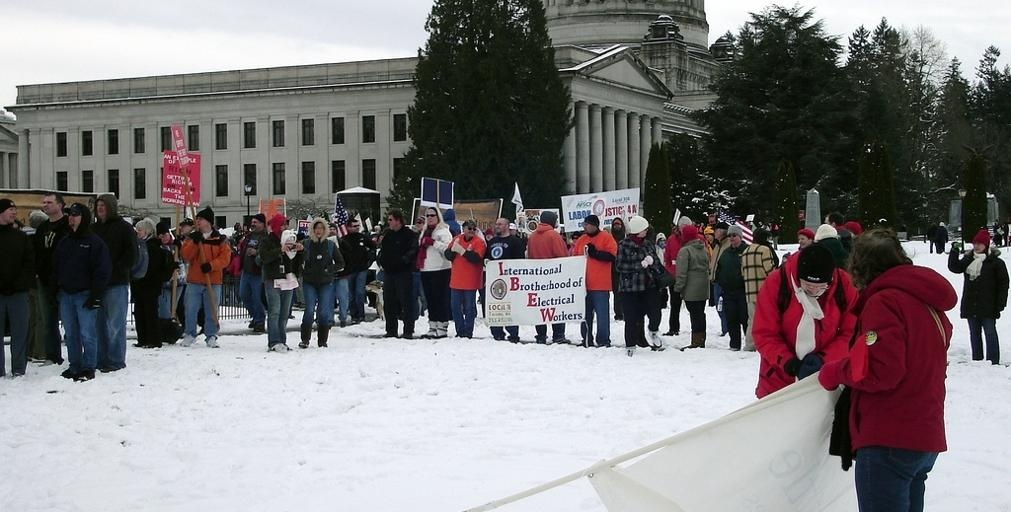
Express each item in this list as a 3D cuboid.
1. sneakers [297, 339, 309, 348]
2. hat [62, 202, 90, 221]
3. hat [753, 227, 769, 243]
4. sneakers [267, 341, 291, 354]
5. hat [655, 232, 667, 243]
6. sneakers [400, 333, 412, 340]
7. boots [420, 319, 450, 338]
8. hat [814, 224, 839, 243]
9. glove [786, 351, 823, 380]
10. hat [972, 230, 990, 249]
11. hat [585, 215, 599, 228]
[{"bbox_3d":[-4.888,2.088,23.500,0.163,0.152,0.364,1,-8,-3],"label":"sneakers"},{"bbox_3d":[-9.160,-0.950,20.798,0.418,0.320,0.582,6,-16,30],"label":"hat"},{"bbox_3d":[6.061,-0.532,23.457,0.341,0.403,0.438,-11,-29,18],"label":"hat"},{"bbox_3d":[-5.380,2.148,23.093,0.488,0.208,0.221,0,3,9],"label":"sneakers"},{"bbox_3d":[4.863,-0.618,30.956,0.354,0.432,0.468,1,-4,1],"label":"hat"},{"bbox_3d":[-2.551,2.023,24.934,0.187,0.172,0.189,-2,-2,44],"label":"sneakers"},{"bbox_3d":[-1.832,1.874,25.155,0.603,0.370,0.379,4,-5,-21],"label":"boots"},{"bbox_3d":[6.635,-0.502,20.593,0.423,0.406,0.540,-3,-7,-4],"label":"hat"},{"bbox_3d":[4.596,1.680,15.152,0.490,0.195,0.362,-30,33,-10],"label":"glove"},{"bbox_3d":[11.154,-0.419,23.250,0.415,0.445,0.567,1,6,40],"label":"hat"},{"bbox_3d":[2.077,-0.883,24.193,0.313,0.235,0.307,1,4,12],"label":"hat"}]
